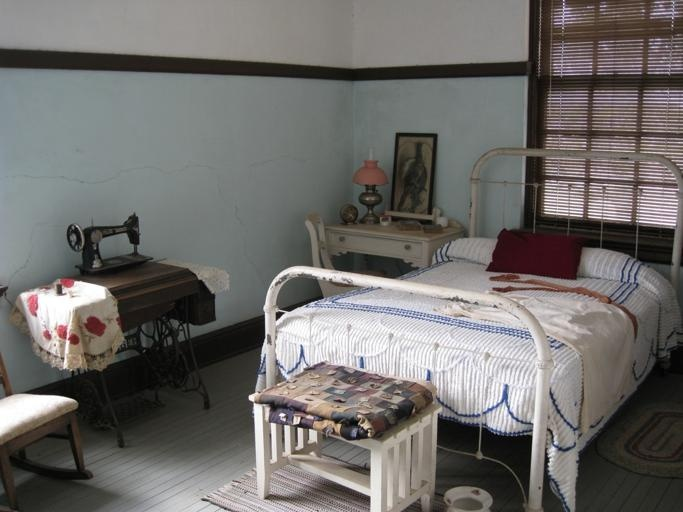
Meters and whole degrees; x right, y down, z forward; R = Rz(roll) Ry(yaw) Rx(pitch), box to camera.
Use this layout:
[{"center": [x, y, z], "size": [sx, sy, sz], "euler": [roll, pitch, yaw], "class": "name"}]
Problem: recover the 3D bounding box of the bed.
[{"center": [0.826, 0.298, 3.358], "size": [1.842, 1.570, 2.577], "euler": [7, 15, 34], "class": "bed"}]
